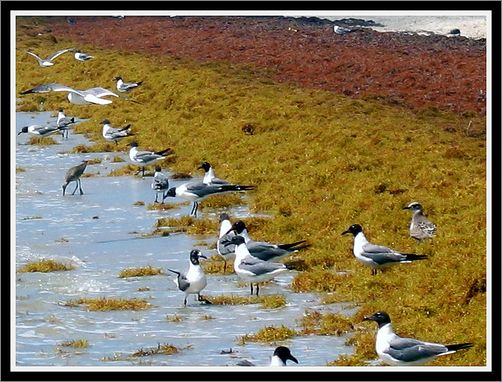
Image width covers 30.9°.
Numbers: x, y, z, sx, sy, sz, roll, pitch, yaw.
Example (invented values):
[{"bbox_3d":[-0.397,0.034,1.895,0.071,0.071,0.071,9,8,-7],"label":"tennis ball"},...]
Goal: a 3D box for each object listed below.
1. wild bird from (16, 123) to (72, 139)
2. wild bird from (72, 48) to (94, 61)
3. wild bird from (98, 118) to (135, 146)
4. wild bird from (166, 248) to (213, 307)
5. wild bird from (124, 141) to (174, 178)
[{"bbox_3d":[-7.407,-2.143,32.239,1.518,0.443,0.456,-6,-3,-3],"label":"wild bird"},{"bbox_3d":[-6.374,-5.286,35.403,0.882,0.269,0.501,15,3,1],"label":"wild bird"},{"bbox_3d":[-4.895,-2.188,33.526,1.105,0.740,1.173,-3,37,-10],"label":"wild bird"},{"bbox_3d":[-1.631,2.374,25.263,0.932,1.861,1.136,-5,41,-12],"label":"wild bird"},{"bbox_3d":[-3.675,-1.206,32.186,1.210,0.894,1.325,19,39,18],"label":"wild bird"}]
